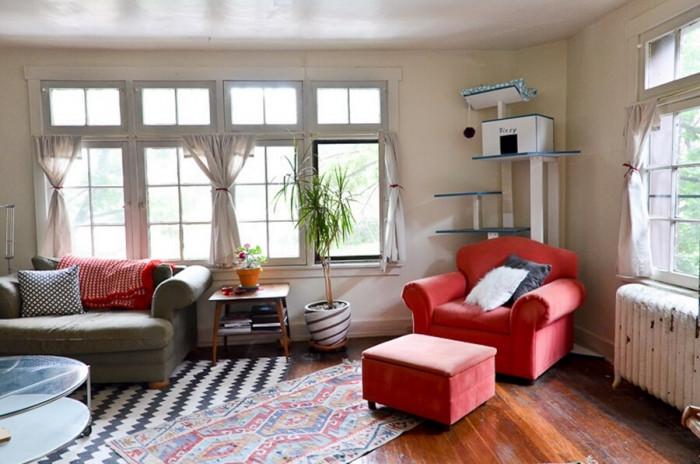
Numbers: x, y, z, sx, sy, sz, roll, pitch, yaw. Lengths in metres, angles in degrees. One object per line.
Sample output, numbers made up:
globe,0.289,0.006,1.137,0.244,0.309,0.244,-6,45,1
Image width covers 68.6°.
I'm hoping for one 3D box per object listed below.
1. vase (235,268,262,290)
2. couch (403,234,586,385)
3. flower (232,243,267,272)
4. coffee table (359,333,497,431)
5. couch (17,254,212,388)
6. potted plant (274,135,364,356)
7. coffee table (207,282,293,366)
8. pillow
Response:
vase,-1.073,0.511,5.474,0.239,0.169,0.231,0,-6,-5
couch,1.517,0.817,5.296,1.951,1.502,1.384,-3,-5,40
flower,-1.095,0.286,5.568,0.310,0.206,0.300,4,-1,-38
coffee table,0.746,1.141,4.365,0.771,0.452,0.772,3,7,41
couch,-2.276,0.795,5.386,1.611,0.836,1.199,0,-4,-6
potted plant,-0.350,0.123,5.686,0.884,2.346,0.778,-6,5,-8
coffee table,-1.065,0.910,5.640,1.024,0.783,0.784,0,-4,-5
pillow,-3.020,0.633,5.171,0.480,0.431,0.171,0,-19,-18
